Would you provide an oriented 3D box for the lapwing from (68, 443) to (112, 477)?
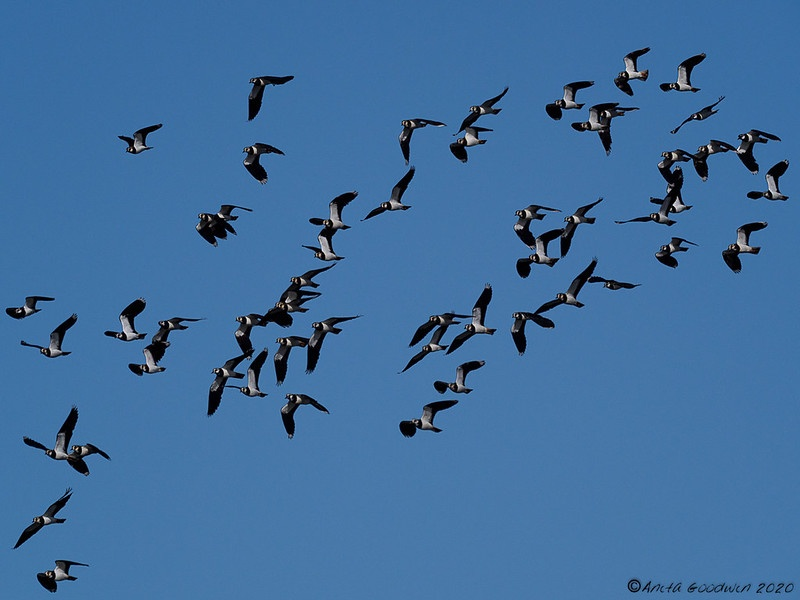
[{"bbox_3d":[-3.208,1.587,18.654,0.319,0.168,0.132,12,-10,-13],"label":"lapwing"}]
